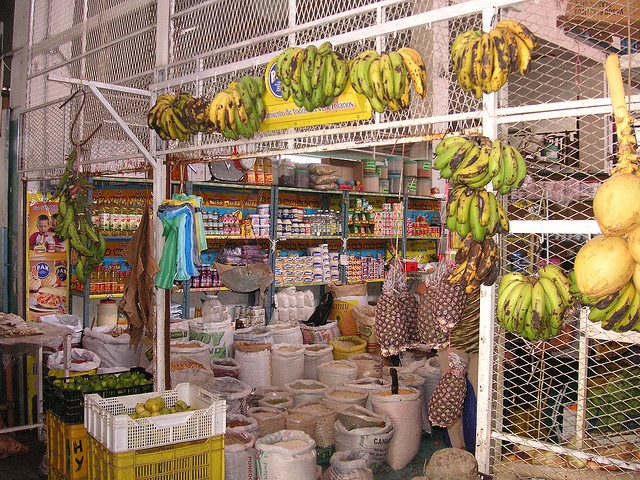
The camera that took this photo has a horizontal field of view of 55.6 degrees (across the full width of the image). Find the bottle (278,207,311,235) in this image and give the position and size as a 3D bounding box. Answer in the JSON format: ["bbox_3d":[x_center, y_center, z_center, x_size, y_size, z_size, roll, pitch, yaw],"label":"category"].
[{"bbox_3d":[-0.372,-0.234,7.936,0.247,0.365,0.676,1,2,38],"label":"bottle"}]

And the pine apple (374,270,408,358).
[{"bbox_3d":[0.412,0.422,3.575,0.186,0.502,0.262,0,1,6],"label":"pine apple"}]

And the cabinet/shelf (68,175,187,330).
[{"bbox_3d":[-2.241,-0.010,6.652,1.066,1.835,0.470,-4,3,-36],"label":"cabinet/shelf"}]

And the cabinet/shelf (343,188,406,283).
[{"bbox_3d":[0.749,-0.005,9.191,0.527,1.550,0.687,-3,3,-38],"label":"cabinet/shelf"}]

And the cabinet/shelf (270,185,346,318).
[{"bbox_3d":[-0.252,0.116,7.998,0.403,1.853,0.749,3,5,43],"label":"cabinet/shelf"}]

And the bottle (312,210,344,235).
[{"bbox_3d":[0.091,-0.210,8.247,0.347,0.347,0.345,1,-1,-30],"label":"bottle"}]

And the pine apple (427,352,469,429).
[{"bbox_3d":[0.756,0.883,3.548,0.150,0.423,0.160,20,-14,-5],"label":"pine apple"}]

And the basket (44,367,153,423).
[{"bbox_3d":[-1.704,1.081,4.596,0.642,0.348,0.526,-1,3,-23],"label":"basket"}]

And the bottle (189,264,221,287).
[{"bbox_3d":[-1.358,0.433,7.189,0.346,0.255,0.320,0,1,0],"label":"bottle"}]

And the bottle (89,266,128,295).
[{"bbox_3d":[-2.246,0.440,6.406,0.287,0.280,0.159,6,-12,-42],"label":"bottle"}]

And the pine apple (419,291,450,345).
[{"bbox_3d":[0.617,0.420,3.294,0.171,0.332,0.180,0,-10,21],"label":"pine apple"}]

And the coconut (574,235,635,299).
[{"bbox_3d":[1.223,0.116,2.622,0.233,0.272,0.115,1,2,20],"label":"coconut"}]
